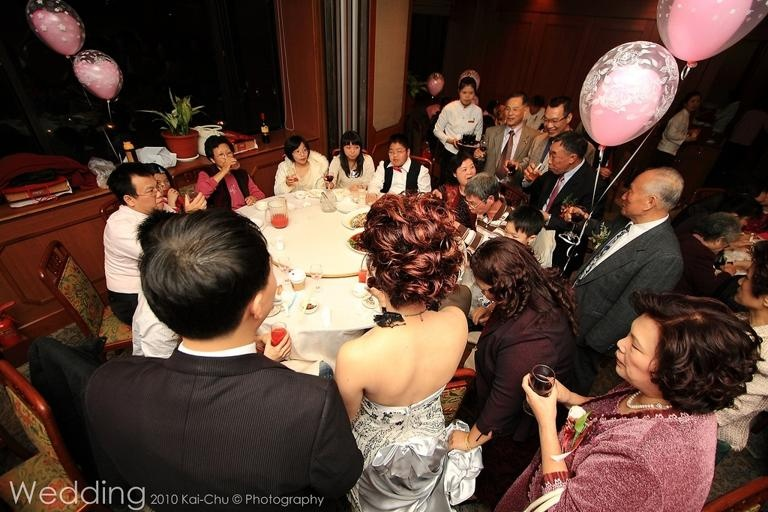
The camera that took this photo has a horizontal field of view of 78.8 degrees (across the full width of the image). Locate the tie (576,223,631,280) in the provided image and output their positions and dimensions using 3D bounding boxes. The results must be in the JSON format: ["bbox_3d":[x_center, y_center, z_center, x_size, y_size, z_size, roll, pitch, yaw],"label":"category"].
[{"bbox_3d":[1.752,-0.042,3.726,0.078,0.146,0.583,34,56,9],"label":"tie"}]

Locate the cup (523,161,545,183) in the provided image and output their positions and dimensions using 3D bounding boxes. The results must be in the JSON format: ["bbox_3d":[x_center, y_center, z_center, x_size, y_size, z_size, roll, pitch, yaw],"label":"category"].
[{"bbox_3d":[1.610,-0.894,5.007,0.215,0.213,0.362,-22,-2,18],"label":"cup"}]

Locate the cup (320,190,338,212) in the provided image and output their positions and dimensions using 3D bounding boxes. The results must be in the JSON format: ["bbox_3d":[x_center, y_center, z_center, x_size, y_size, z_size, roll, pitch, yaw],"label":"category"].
[{"bbox_3d":[-0.514,-0.496,4.296,0.132,0.174,0.104,-28,53,-35],"label":"cup"}]

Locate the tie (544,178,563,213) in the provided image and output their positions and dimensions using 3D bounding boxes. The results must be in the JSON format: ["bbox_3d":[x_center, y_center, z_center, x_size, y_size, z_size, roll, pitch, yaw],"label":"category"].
[{"bbox_3d":[1.679,-0.598,4.632,0.046,0.392,0.057,25,3,-38],"label":"tie"}]

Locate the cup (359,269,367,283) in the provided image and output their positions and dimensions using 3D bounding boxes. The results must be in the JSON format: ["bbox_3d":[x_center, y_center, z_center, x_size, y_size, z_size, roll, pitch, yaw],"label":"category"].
[{"bbox_3d":[-0.158,0.147,3.519,0.077,0.092,0.080,4,24,-2],"label":"cup"}]

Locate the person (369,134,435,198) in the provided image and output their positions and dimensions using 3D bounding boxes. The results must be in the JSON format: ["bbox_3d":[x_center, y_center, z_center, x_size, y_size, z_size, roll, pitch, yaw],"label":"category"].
[{"bbox_3d":[0.157,-0.740,5.029,0.693,0.993,0.553,-3,22,0],"label":"person"}]

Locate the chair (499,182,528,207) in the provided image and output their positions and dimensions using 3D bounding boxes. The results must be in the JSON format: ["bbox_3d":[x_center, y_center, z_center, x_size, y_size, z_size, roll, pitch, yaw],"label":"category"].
[{"bbox_3d":[1.273,-0.598,4.634,0.223,0.339,0.204,-39,65,1],"label":"chair"}]

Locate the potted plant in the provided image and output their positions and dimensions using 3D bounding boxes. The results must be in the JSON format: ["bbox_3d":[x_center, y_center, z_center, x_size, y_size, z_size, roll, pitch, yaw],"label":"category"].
[{"bbox_3d":[-2.134,-1.311,4.914,0.459,0.650,0.549,6,17,8],"label":"potted plant"}]

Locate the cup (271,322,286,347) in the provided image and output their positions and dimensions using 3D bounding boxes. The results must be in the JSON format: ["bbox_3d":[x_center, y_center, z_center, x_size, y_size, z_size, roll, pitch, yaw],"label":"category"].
[{"bbox_3d":[-0.688,0.510,3.015,0.108,0.167,0.109,-2,-8,0],"label":"cup"}]

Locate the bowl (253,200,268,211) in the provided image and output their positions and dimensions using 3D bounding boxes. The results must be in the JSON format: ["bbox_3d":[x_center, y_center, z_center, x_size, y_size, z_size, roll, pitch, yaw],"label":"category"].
[{"bbox_3d":[-1.135,-0.475,4.315,0.100,0.048,0.104,2,29,-1],"label":"bowl"}]

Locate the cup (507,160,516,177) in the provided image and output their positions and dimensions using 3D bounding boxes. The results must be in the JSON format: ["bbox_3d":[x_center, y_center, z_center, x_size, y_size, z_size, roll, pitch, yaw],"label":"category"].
[{"bbox_3d":[1.363,-0.958,5.058,0.134,0.105,0.159,-6,65,21],"label":"cup"}]

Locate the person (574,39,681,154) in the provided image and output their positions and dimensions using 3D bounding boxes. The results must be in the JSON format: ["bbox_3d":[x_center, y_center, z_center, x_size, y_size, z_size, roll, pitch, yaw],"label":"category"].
[{"bbox_3d":[1.704,-1.100,3.381,0.611,0.761,0.461,52,32,18],"label":"person"}]

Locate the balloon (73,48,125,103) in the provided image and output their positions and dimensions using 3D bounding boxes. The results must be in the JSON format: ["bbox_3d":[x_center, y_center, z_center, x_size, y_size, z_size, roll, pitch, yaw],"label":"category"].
[{"bbox_3d":[-2.495,-1.585,4.196,0.259,0.451,0.388,-33,52,-7],"label":"balloon"}]
